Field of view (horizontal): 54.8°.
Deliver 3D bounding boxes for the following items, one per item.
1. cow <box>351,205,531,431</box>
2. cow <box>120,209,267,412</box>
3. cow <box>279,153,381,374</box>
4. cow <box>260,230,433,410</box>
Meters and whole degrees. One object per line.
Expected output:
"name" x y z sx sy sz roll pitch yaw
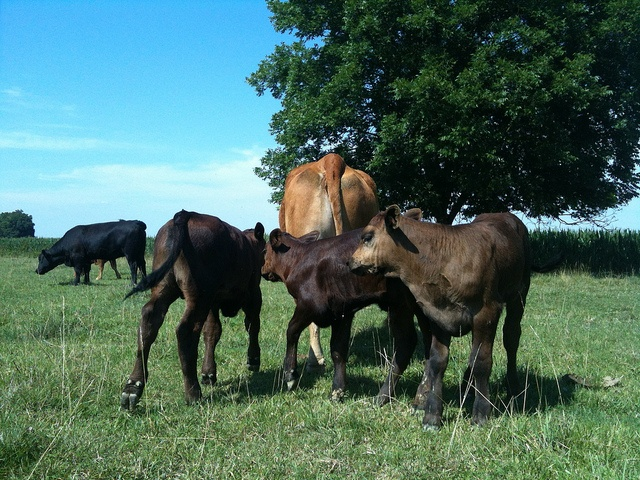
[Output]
"cow" 2.174 1.062 9.256 3.527 3.280 1.130 -8 5 -35
"cow" -1.801 1.043 10.954 1.082 3.174 4.828 1 -3 15
"cow" -0.126 1.077 14.531 1.957 4.190 7.321 3 -19 -7
"cow" 0.285 1.201 10.123 3.422 2.931 1.116 0 -6 30
